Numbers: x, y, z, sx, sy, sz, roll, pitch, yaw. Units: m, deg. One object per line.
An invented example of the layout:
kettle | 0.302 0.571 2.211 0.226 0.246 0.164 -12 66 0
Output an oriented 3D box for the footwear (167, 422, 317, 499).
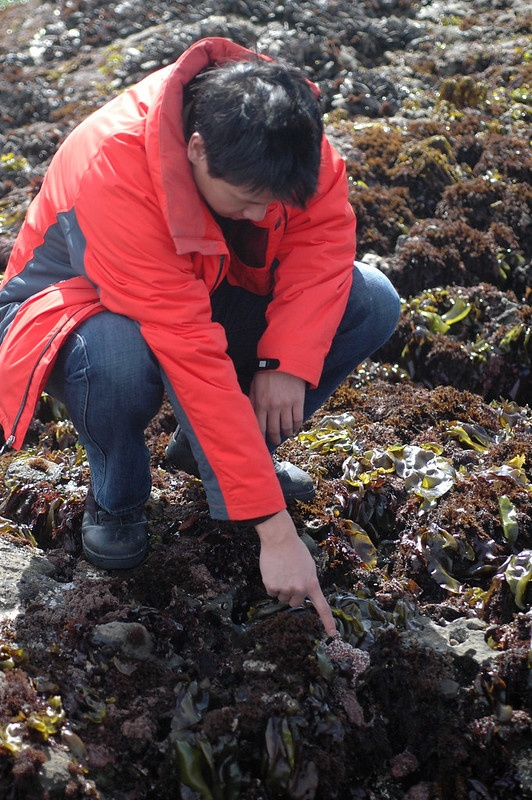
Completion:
footwear | -0.090 0.202 2.672 0.470 0.189 0.136 13 45 6
